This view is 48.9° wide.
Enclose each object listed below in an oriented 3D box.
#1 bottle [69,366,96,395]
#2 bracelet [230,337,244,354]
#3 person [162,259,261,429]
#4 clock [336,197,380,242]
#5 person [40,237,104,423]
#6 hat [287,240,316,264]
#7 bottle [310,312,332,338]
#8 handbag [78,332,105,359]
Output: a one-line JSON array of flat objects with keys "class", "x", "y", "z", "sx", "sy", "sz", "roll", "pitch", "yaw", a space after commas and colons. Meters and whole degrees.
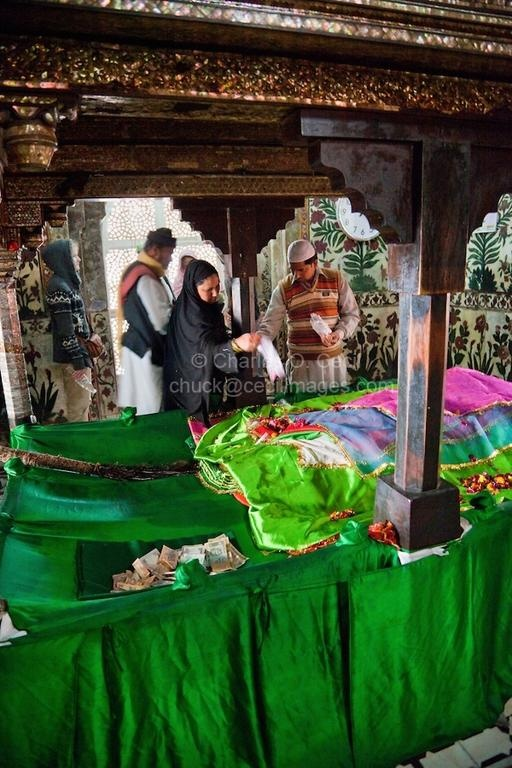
[{"class": "bottle", "x": -1.541, "y": -0.029, "z": 4.953, "sx": 0.086, "sy": 0.071, "sz": 0.275, "roll": -32, "pitch": -14, "yaw": -7}, {"class": "bracelet", "x": -0.111, "y": -0.222, "z": 3.271, "sx": 0.049, "sy": 0.081, "sz": 0.081, "roll": -7, "pitch": 8, "yaw": -29}, {"class": "person", "x": -0.316, "y": -0.268, "z": 3.544, "sx": 0.573, "sy": 1.015, "sz": 0.748, "roll": -4, "pitch": 7, "yaw": -9}, {"class": "clock", "x": 0.973, "y": -1.599, "z": 5.481, "sx": 0.390, "sy": 0.402, "sz": 0.180, "roll": -2, "pitch": 7, "yaw": 8}, {"class": "person", "x": -1.549, "y": -0.421, "z": 4.815, "sx": 0.420, "sy": 1.593, "sz": 0.675, "roll": -6, "pitch": 8, "yaw": -19}, {"class": "hat", "x": 0.301, "y": -0.877, "z": 3.731, "sx": 0.179, "sy": 0.168, "sz": 0.194, "roll": -2, "pitch": 7, "yaw": 5}, {"class": "bottle", "x": 0.446, "y": -0.397, "z": 3.821, "sx": 0.144, "sy": 0.170, "sz": 0.120, "roll": -4, "pitch": 7, "yaw": -11}, {"class": "handbag", "x": -1.400, "y": -0.340, "z": 4.797, "sx": 0.202, "sy": 0.084, "sz": 0.155, "roll": 7, "pitch": -39, "yaw": -15}]
